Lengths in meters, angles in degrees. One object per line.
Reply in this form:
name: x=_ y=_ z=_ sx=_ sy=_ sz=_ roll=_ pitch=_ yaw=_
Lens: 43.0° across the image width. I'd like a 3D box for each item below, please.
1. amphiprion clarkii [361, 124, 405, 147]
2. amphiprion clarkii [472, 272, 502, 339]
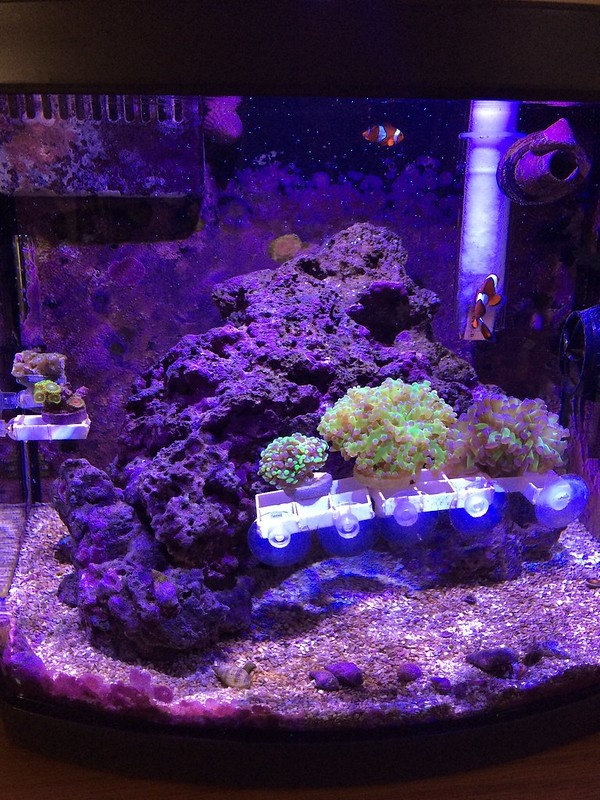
amphiprion clarkii: x=0.269 y=-0.837 z=2.457 sx=0.155 sy=0.044 sz=0.083 roll=0 pitch=-25 yaw=-6
amphiprion clarkii: x=0.649 y=-0.313 z=2.620 sx=0.080 sy=0.202 sz=0.109 roll=10 pitch=-5 yaw=38
